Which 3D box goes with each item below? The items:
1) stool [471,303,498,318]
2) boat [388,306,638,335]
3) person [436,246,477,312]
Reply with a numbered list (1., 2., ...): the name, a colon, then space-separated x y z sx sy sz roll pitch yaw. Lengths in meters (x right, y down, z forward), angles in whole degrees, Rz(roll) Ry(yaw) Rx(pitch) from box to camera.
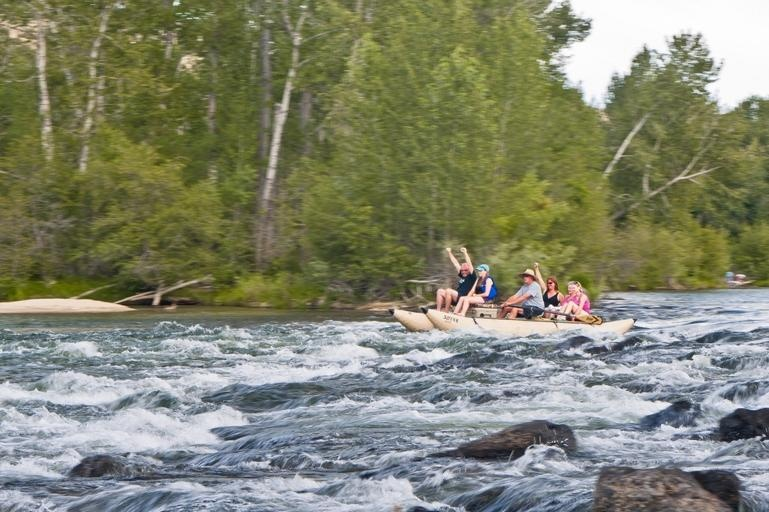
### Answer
1. stool: 3.749 2.066 45.513 1.147 0.353 0.591 0 1 6
2. boat: 4.310 2.413 45.207 8.204 1.017 1.142 1 -5 12
3. person: 2.714 1.011 46.957 2.068 1.916 1.189 -1 7 -17
